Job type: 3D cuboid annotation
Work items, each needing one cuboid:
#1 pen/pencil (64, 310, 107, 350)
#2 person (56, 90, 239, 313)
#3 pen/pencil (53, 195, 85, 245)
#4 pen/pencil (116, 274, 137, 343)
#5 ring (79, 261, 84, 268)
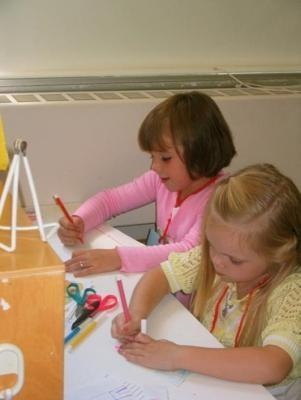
[{"bbox_3d":[-0.108,0.236,0.659,0.019,0.017,0.131,3,21,35],"label":"pen/pencil"},{"bbox_3d":[0.057,-0.096,1.210,0.751,0.666,0.541,-11,30,-19],"label":"person"},{"bbox_3d":[-0.254,0.064,1.056,0.020,0.174,0.020,-31,8,38],"label":"pen/pencil"},{"bbox_3d":[-0.055,0.211,0.679,0.023,0.137,0.021,-15,-2,6],"label":"pen/pencil"},{"bbox_3d":[-0.170,0.160,0.849,0.016,0.013,0.004,-4,1,29],"label":"ring"}]
